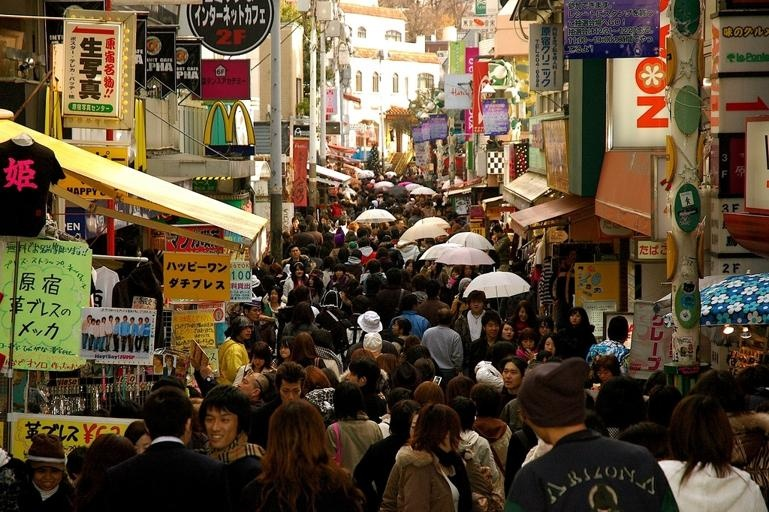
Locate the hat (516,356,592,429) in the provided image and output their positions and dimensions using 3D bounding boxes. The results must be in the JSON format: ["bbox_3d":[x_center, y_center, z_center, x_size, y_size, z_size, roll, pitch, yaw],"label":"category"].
[{"bbox_3d":[1.041,0.832,5.273,0.357,0.425,0.497,-10,4,-34],"label":"hat"}]

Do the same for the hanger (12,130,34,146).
[{"bbox_3d":[-3.204,-1.013,7.499,0.190,0.135,0.122,-1,-6,11],"label":"hanger"}]

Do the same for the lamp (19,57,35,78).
[{"bbox_3d":[-5.387,-2.807,12.748,0.148,0.157,0.388,-8,-4,-31],"label":"lamp"}]

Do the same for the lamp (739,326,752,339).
[{"bbox_3d":[3.932,0.839,9.308,0.114,0.131,0.120,-15,14,15],"label":"lamp"}]

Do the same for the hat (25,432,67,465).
[{"bbox_3d":[-2.644,1.515,6.645,0.264,0.216,0.175,0,-6,-8],"label":"hat"}]

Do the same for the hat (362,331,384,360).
[{"bbox_3d":[-0.152,1.145,10.754,0.170,0.184,0.300,0,39,-1],"label":"hat"}]
